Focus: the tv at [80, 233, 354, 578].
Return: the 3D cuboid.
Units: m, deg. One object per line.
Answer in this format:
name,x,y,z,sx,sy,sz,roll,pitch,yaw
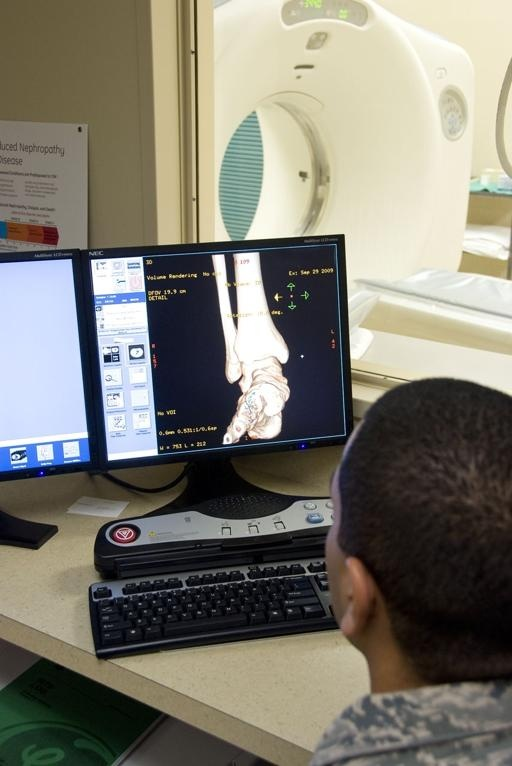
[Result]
tv,-0.045,-0.024,1.078,0.540,0.526,0.455,-5,17,-9
